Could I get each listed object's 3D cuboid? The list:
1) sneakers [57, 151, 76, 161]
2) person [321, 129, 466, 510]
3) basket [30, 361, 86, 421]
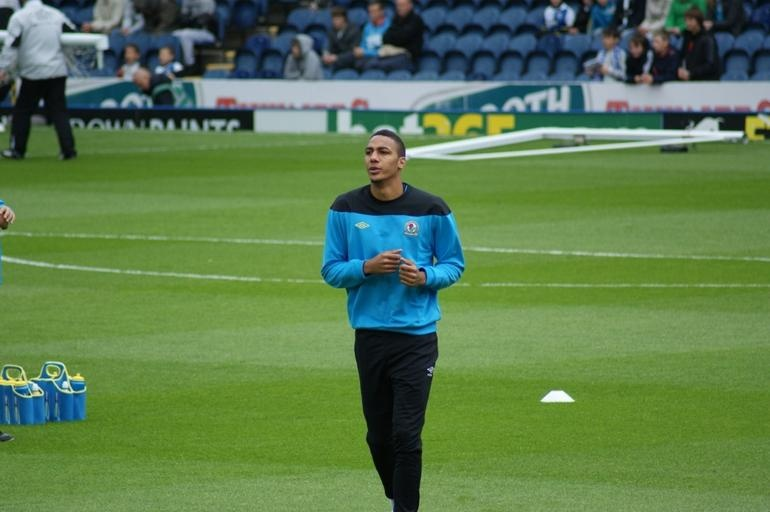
[{"bbox_3d":[-4.675,-1.478,28.349,0.242,0.118,0.221,0,19,-30],"label":"sneakers"},{"bbox_3d":[0.054,0.681,20.720,1.157,4.051,0.976,6,11,37],"label":"person"},{"bbox_3d":[-3.853,1.556,22.252,0.574,0.678,0.739,-1,2,-37],"label":"basket"}]
